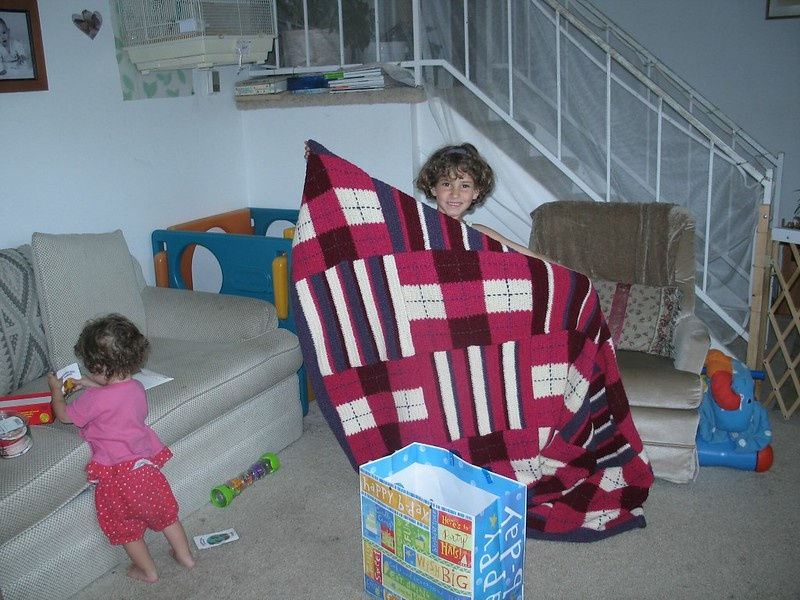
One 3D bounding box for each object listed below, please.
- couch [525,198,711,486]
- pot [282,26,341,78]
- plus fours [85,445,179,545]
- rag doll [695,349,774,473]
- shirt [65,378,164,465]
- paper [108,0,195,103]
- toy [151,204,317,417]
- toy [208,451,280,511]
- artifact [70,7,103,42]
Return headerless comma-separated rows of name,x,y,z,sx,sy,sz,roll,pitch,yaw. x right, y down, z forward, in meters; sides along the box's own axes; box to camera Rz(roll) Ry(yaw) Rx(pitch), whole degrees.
couch,1.084,0.101,3.307,0.835,1.181,1.142,3,27,8
pot,-0.505,-1.455,4.128,0.352,0.274,0.087,0,15,1
plus fours,-0.934,0.651,2.496,0.300,0.410,0.108,-2,24,-22
rag doll,1.451,0.496,3.037,0.303,0.452,0.268,4,20,17
shirt,-0.982,0.411,2.533,0.272,0.302,0.256,13,26,31
paper,-1.240,-1.234,3.456,0.006,0.399,0.365,12,26,35
toy,-0.799,0.030,3.789,0.930,1.021,0.977,-5,15,-11
toy,-0.638,0.748,2.996,0.108,0.114,0.362,-34,-6,32
artifact,-1.476,-1.297,3.323,0.026,0.128,0.163,6,21,21
